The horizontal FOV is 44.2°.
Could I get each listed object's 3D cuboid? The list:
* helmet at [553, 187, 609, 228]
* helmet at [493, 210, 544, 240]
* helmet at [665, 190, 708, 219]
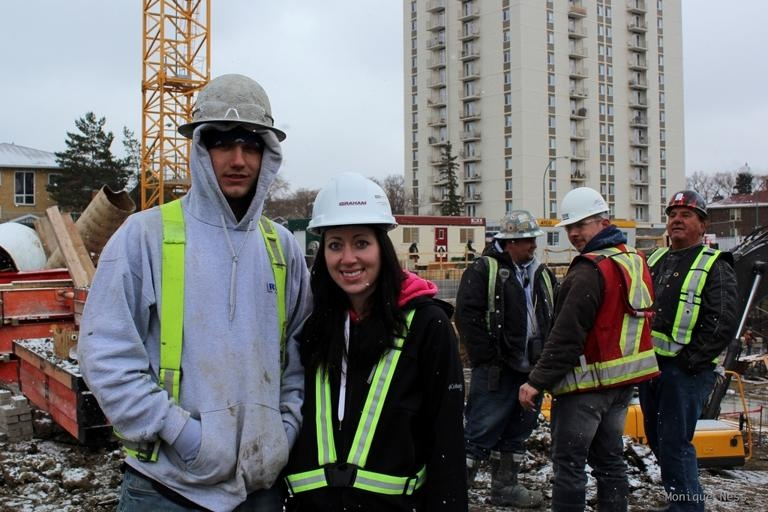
[{"bbox_3d":[2.391,-0.596,11.214,0.561,0.332,0.406,-11,3,-35],"label":"helmet"},{"bbox_3d":[1.672,-0.379,12.095,0.428,0.207,0.430,-6,2,-25],"label":"helmet"},{"bbox_3d":[3.703,-0.604,11.514,0.341,0.337,0.436,7,0,18],"label":"helmet"}]
